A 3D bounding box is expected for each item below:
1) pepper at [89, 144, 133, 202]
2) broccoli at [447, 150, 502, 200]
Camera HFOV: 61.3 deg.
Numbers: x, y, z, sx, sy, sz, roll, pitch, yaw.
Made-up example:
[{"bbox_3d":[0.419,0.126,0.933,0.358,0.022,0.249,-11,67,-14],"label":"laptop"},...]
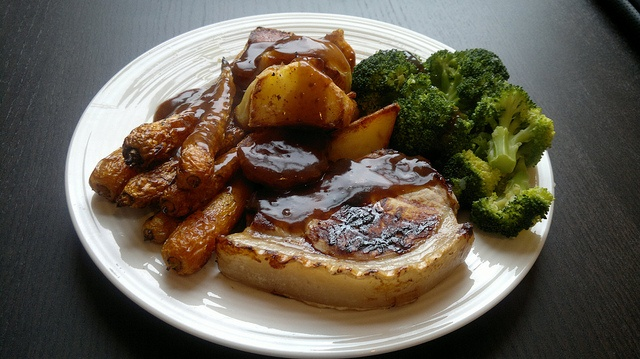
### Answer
[{"bbox_3d":[-1.420,-0.033,3.800,0.230,0.233,0.328,11,45,26],"label":"pepper"},{"bbox_3d":[1.053,-0.022,3.727,0.297,0.121,0.352,-34,76,7],"label":"broccoli"}]
